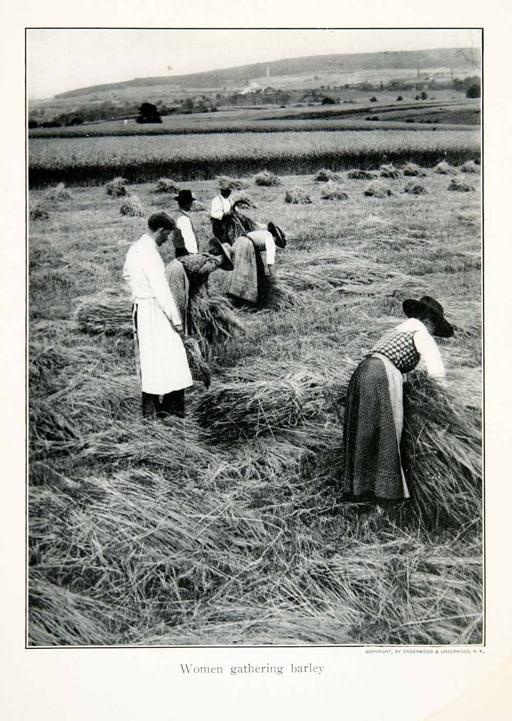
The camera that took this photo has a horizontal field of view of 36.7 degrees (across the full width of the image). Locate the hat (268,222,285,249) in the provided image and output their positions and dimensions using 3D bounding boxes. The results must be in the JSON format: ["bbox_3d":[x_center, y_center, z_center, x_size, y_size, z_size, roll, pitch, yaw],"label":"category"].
[{"bbox_3d":[0.137,-0.799,4.880,0.051,0.143,0.126,-30,20,-15],"label":"hat"}]
